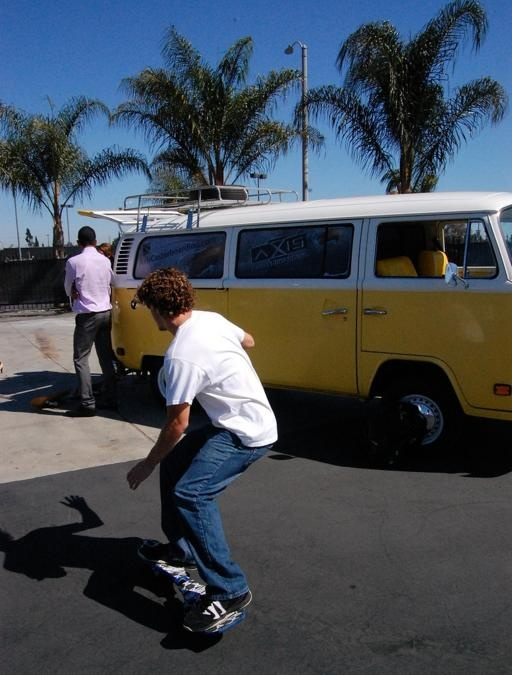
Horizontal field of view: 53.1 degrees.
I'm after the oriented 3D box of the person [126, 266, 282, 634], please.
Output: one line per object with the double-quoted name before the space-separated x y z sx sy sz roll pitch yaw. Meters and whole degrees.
"person" -0.249 0.481 2.282 0.608 1.576 0.595 -4 4 -31
